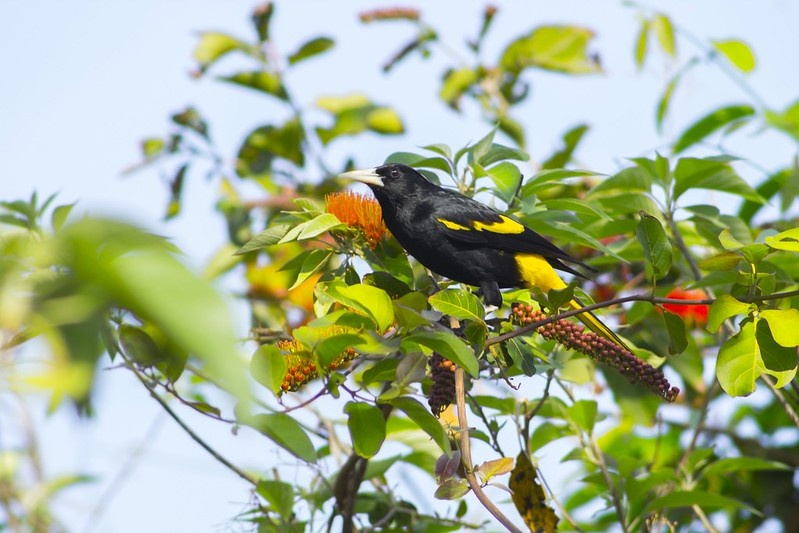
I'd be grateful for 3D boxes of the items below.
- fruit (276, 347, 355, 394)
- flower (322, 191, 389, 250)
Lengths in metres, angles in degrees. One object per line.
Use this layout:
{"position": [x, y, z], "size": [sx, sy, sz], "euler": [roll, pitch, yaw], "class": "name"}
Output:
{"position": [-0.378, 0.443, 4.576], "size": [0.337, 0.173, 0.142], "euler": [-9, -78, -15], "class": "fruit"}
{"position": [-0.184, -0.274, 4.947], "size": [0.255, 0.280, 0.285], "euler": [19, -59, 21], "class": "flower"}
